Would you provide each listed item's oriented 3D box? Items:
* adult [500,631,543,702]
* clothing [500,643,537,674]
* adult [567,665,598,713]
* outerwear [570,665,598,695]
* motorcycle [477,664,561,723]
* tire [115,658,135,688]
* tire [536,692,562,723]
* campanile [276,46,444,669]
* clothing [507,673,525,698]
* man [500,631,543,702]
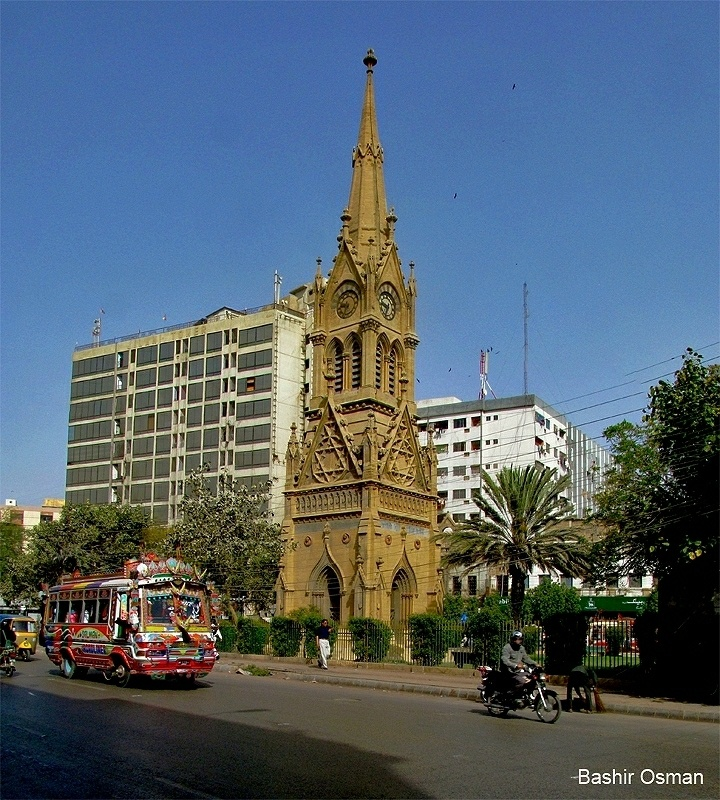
[{"bbox_3d":[2.983,4.897,20.395,0.860,1.178,0.899,-2,-5,10],"label":"adult"},{"bbox_3d":[2.956,4.568,20.443,0.397,0.737,0.732,-1,6,-23],"label":"clothing"},{"bbox_3d":[4.452,5.681,22.024,0.426,0.922,0.646,2,-2,19],"label":"adult"},{"bbox_3d":[4.476,5.546,21.915,0.626,0.476,0.836,-2,0,17],"label":"outerwear"},{"bbox_3d":[2.959,5.329,20.206,1.670,0.985,0.663,-8,-18,42],"label":"motorcycle"},{"bbox_3d":[-4.991,5.726,23.178,0.216,0.569,0.826,5,-13,-23],"label":"tire"},{"bbox_3d":[3.375,5.433,19.603,0.403,0.526,0.792,0,-12,-1],"label":"tire"},{"bbox_3d":[0.139,-3.929,48.683,6.534,27.300,5.825,4,-12,-20],"label":"campanile"},{"bbox_3d":[2.897,5.170,20.111,0.168,0.389,0.285,18,-8,6],"label":"clothing"},{"bbox_3d":[2.863,4.871,20.423,0.845,1.568,0.892,-8,-22,17],"label":"man"}]
